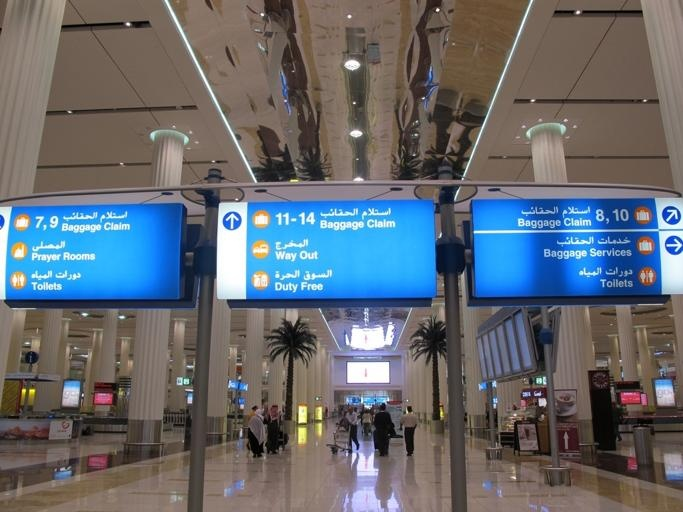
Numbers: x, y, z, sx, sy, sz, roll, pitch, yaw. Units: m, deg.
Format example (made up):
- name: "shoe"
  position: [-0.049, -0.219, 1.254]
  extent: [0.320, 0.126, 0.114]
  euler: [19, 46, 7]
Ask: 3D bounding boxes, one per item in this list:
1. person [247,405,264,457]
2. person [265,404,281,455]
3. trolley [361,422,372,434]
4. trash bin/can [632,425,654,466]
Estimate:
- name: "person"
  position: [-3.128, 6.470, 17.101]
  extent: [0.523, 1.632, 1.370]
  euler: [0, -15, -10]
- name: "person"
  position: [-2.706, 6.842, 18.426]
  extent: [0.434, 1.782, 0.648]
  euler: [1, -14, -11]
- name: "trolley"
  position: [1.485, 10.430, 28.393]
  extent: [0.444, 0.685, 1.105]
  euler: [-3, -15, 3]
- name: "trash bin/can"
  position: [8.885, 5.593, 13.758]
  extent: [0.455, 1.046, 0.632]
  euler: [-10, -16, 27]
